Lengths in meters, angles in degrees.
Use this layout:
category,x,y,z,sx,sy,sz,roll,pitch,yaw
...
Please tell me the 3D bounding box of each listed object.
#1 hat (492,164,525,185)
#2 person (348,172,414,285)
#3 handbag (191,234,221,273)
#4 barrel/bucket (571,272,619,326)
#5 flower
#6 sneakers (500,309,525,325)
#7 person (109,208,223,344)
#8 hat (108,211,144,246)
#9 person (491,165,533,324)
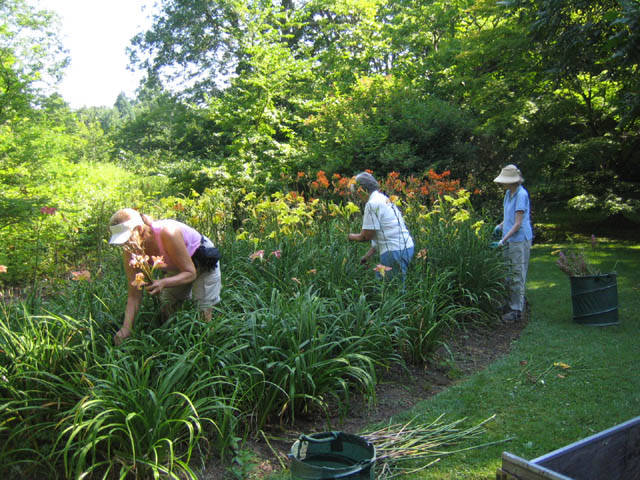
category,x,y,z,sx,sy,sz,roll,pitch,yaw
hat,2.787,-0.941,8.190,0.358,0.310,0.341,-2,0,22
person,0.843,-0.213,7.595,0.834,1.048,0.661,-2,0,10
handbag,-1.241,0.167,6.185,0.159,0.270,0.387,-11,-36,-49
barrel/bucket,3.994,0.891,8.177,0.630,0.716,0.671,0,-5,0
flower,-1.743,0.345,5.681,0.225,0.397,0.257,-22,7,13
sneakers,2.890,1.139,8.238,0.400,0.165,0.197,-5,-40,-14
person,-1.667,0.458,6.062,0.658,1.596,1.054,16,37,28
hat,-1.950,-0.126,5.678,0.331,0.355,0.332,-2,0,-22
person,2.912,0.039,8.399,0.509,2.296,0.937,-2,1,19
